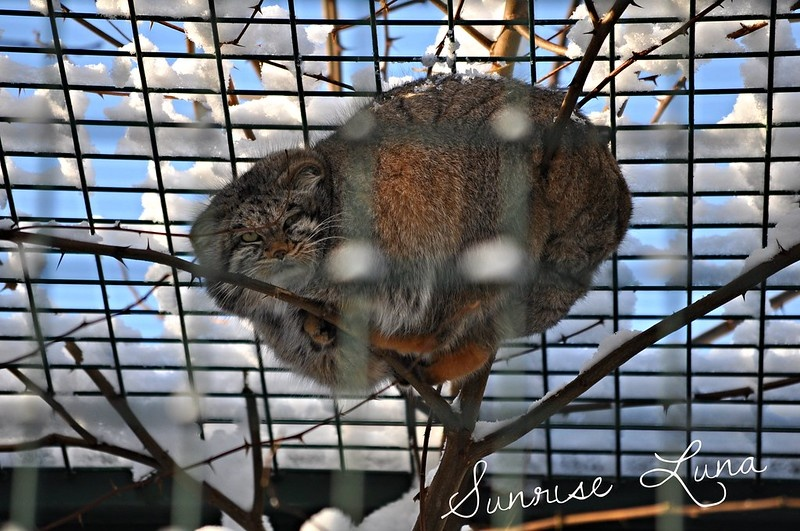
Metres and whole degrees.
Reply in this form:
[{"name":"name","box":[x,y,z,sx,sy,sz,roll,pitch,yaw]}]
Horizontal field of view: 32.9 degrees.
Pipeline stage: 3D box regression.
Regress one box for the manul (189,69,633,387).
[{"name":"manul","box":[0.048,-0.202,6.649,2.017,1.281,1.070,-24,-65,1]}]
